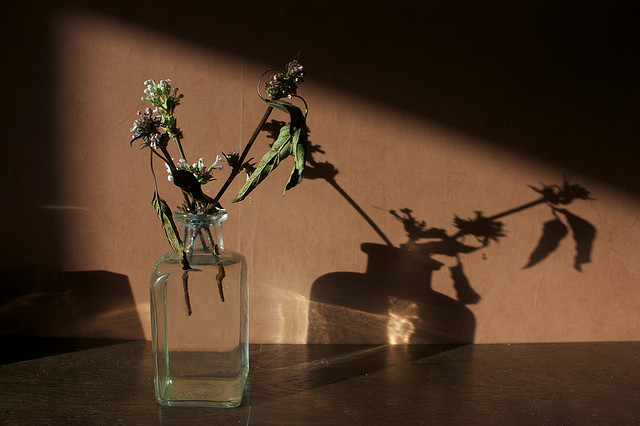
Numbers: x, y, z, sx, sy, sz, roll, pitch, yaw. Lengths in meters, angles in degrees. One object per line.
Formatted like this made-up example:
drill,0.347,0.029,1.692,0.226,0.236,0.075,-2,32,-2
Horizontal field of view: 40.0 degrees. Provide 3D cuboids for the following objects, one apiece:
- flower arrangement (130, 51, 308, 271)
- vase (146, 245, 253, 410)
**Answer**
flower arrangement,-0.271,-0.145,2.245,0.461,0.595,0.328,3,-6,-3
vase,-0.262,0.287,2.198,0.304,0.402,0.152,8,-8,-44
